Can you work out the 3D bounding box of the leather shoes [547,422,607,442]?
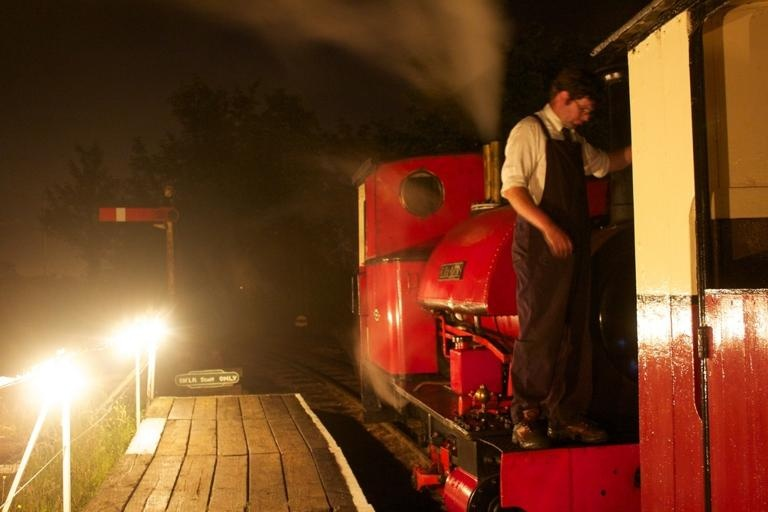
[{"bbox_3d":[1.442,1.317,5.037,0.361,0.151,0.176,-1,0,3],"label":"leather shoes"}]
